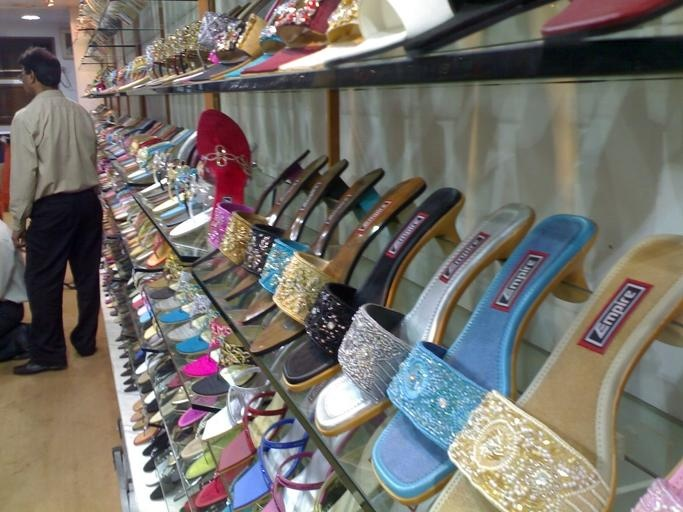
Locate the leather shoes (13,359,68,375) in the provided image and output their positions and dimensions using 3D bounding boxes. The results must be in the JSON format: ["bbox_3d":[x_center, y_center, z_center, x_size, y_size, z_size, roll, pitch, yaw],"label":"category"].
[{"bbox_3d":[-1.918,0.709,2.874,0.325,0.085,0.120,1,4,-20],"label":"leather shoes"}]
